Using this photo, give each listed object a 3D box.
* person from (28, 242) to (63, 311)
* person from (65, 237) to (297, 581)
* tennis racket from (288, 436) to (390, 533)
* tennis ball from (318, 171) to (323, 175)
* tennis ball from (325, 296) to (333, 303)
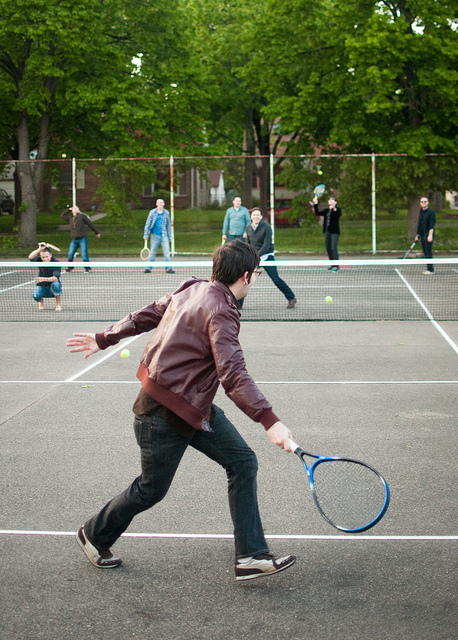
[{"bbox_3d":[-3.687,-0.898,14.488,0.621,1.342,1.617,-1,6,-14],"label":"person"},{"bbox_3d":[-0.189,0.468,3.692,1.184,1.772,0.480,4,7,28],"label":"person"},{"bbox_3d":[0.560,0.832,3.630,0.285,0.075,0.989,-32,23,-4],"label":"tennis racket"},{"bbox_3d":[4.012,-6.517,31.507,0.195,0.223,0.198,0,19,0],"label":"tennis ball"},{"bbox_3d":[2.014,-0.428,14.467,0.136,0.133,0.137,-27,6,3],"label":"tennis ball"}]
